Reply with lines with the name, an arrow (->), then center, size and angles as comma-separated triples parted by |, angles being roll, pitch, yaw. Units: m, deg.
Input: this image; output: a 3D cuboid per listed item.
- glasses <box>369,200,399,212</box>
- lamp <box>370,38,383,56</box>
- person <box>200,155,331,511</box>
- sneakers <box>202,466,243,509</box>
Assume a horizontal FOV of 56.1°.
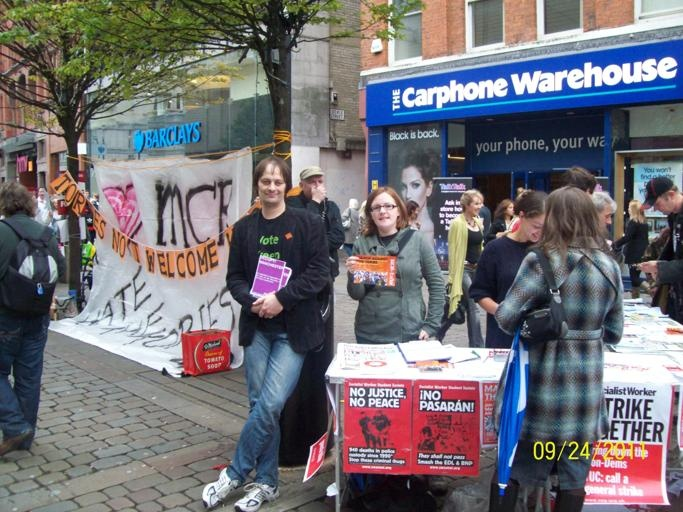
glasses -> 0.357, -0.401, 5.364 | 0.213, 0.077, 0.079 | -1, 7, 6
lamp -> 0.921, -5.485, 17.001 | 0.147, 0.361, 0.458 | -6, 9, -39
person -> -0.544, 0.556, 4.996 | 0.908, 2.594, 0.589 | -1, 6, -2
sneakers -> -0.909, 1.785, 4.921 | 0.297, 0.110, 0.134 | -47, 20, -15
